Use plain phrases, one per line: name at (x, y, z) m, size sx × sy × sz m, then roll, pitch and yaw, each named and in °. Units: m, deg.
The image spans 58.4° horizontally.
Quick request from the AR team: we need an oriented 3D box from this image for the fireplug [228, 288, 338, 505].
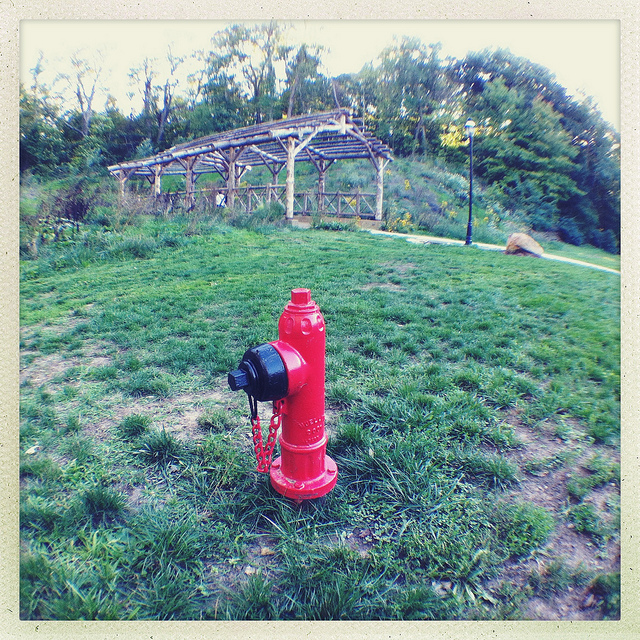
fireplug at (-0.187, 0.450, 3.284) m, size 0.634 × 1.241 × 0.327 m, roll 1°, pitch 3°, yaw -14°
